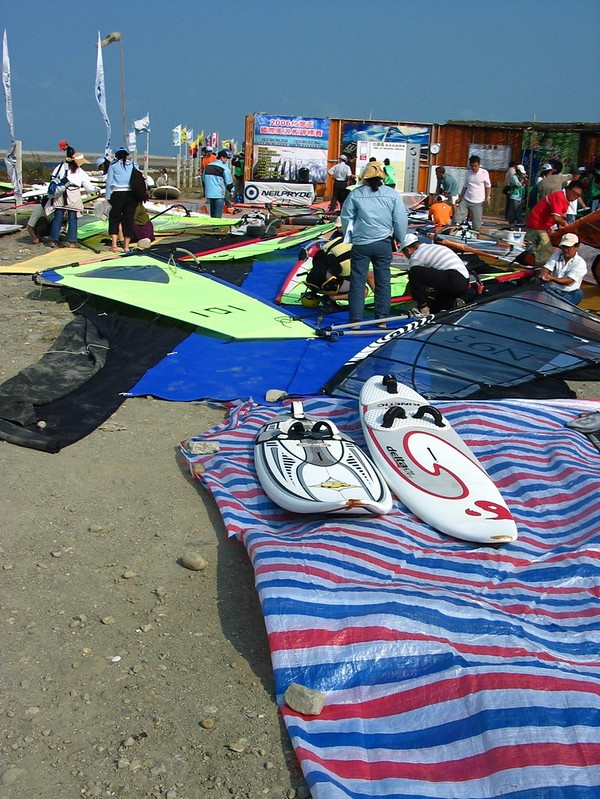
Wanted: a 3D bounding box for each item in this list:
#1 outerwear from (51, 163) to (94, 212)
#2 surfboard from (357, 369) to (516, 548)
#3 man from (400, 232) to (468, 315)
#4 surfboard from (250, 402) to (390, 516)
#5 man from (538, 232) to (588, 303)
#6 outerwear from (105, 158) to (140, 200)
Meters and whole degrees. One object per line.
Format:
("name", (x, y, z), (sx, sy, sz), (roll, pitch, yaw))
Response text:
("outerwear", (-3.960, -3.679, 11.623), (0.683, 0.806, 0.479), (-5, 21, -17))
("surfboard", (0.809, 0.374, 4.206), (0.431, 0.232, 1.256), (-10, 29, -14))
("man", (1.583, -1.475, 8.031), (0.841, 0.982, 0.856), (-11, 20, -41))
("surfboard", (0.095, 0.345, 4.367), (0.797, 0.310, 1.740), (2, 19, -13))
("man", (3.102, -1.552, 7.915), (0.479, 0.786, 0.494), (-14, 26, -37))
("outerwear", (-2.904, -3.540, 10.824), (0.464, 0.593, 0.280), (-3, 21, -13))
